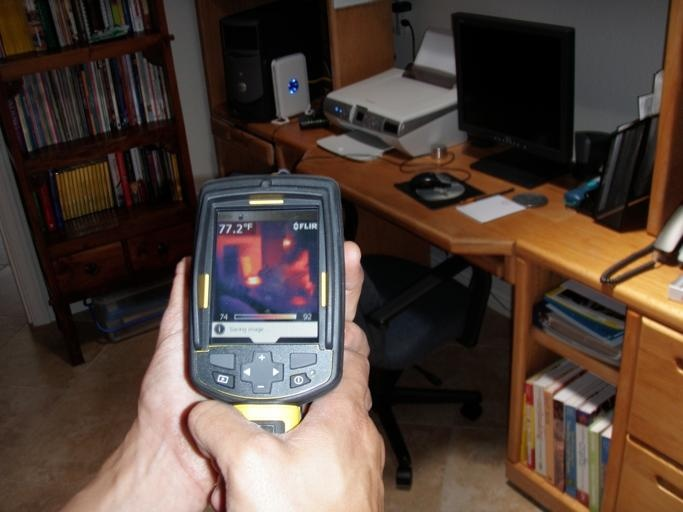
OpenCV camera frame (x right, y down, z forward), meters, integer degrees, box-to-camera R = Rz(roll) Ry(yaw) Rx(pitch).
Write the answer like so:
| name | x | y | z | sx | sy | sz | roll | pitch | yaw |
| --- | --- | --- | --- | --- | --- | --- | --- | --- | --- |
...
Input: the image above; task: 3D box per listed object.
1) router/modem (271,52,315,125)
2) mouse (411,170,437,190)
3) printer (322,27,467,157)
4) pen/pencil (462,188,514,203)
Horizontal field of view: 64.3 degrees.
| name | x | y | z | sx | sy | sz | roll | pitch | yaw |
| --- | --- | --- | --- | --- | --- | --- | --- | --- | --- |
| router/modem | -0.231 | -0.794 | 2.511 | 0.061 | 0.274 | 0.268 | 12 | 30 | 44 |
| mouse | 0.288 | -0.261 | 1.870 | 0.067 | 0.028 | 0.055 | -5 | 9 | 45 |
| printer | 0.268 | -0.645 | 2.219 | 0.368 | 0.540 | 0.594 | -19 | 34 | -32 |
| pen/pencil | 0.501 | -0.204 | 1.840 | 0.165 | 0.024 | 0.019 | -15 | 55 | -40 |
